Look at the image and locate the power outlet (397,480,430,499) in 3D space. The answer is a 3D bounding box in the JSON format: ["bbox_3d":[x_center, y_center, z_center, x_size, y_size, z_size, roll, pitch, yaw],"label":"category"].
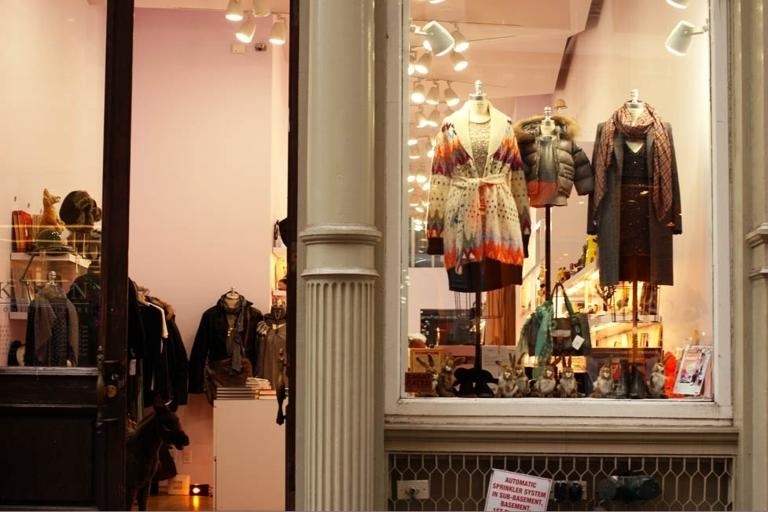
[{"bbox_3d":[0.178,1.387,7.692,0.191,0.115,0.040,0,-6,-13],"label":"power outlet"}]

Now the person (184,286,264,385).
[{"bbox_3d":[-1.252,0.667,10.288,0.584,0.806,0.184,0,-6,-9],"label":"person"}]
